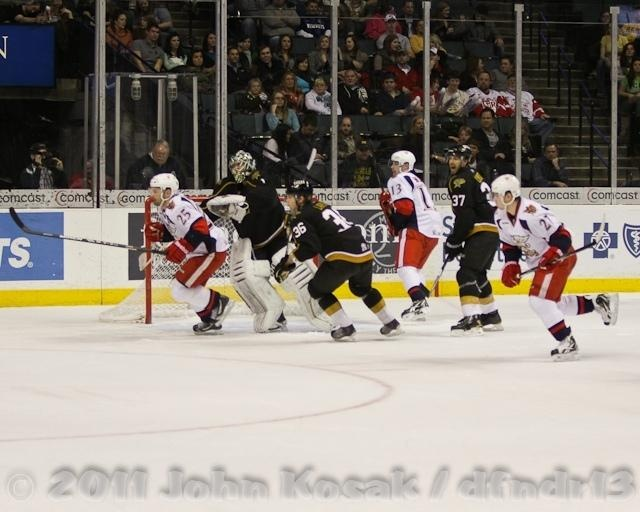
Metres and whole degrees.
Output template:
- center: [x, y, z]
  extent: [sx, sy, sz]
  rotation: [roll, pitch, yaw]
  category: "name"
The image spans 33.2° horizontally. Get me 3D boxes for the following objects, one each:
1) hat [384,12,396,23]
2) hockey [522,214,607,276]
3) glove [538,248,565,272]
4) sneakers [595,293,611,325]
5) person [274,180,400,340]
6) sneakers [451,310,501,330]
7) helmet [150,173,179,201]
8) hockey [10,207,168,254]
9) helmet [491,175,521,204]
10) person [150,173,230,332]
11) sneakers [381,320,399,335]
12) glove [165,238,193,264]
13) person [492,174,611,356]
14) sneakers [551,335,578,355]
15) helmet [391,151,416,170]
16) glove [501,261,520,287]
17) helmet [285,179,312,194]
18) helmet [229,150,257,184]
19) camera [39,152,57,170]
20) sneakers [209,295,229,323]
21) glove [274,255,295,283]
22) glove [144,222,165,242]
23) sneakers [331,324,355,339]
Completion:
- center: [0.753, -2.540, 11.398]
  extent: [0.104, 0.051, 0.122]
  rotation: [-21, 41, -21]
  category: "hat"
- center: [2.088, -0.092, 9.121]
  extent: [0.326, 0.081, 1.027]
  rotation: [2, -25, -27]
  category: "hockey"
- center: [1.658, 0.022, 7.684]
  extent: [0.077, 0.174, 0.125]
  rotation: [37, 10, -26]
  category: "glove"
- center: [2.083, 0.382, 7.835]
  extent: [0.121, 0.235, 0.082]
  rotation: [-12, 17, 7]
  category: "sneakers"
- center: [0.190, 0.127, 8.639]
  extent: [0.892, 1.123, 0.305]
  rotation: [1, 4, -26]
  category: "person"
- center: [1.354, 0.540, 9.027]
  extent: [0.534, 0.197, 0.168]
  rotation: [0, -7, -12]
  category: "sneakers"
- center: [-1.263, -0.576, 8.933]
  extent: [0.248, 0.199, 0.190]
  rotation: [6, 6, 1]
  category: "helmet"
- center: [-2.011, -0.215, 9.286]
  extent: [1.864, 0.407, 0.113]
  rotation: [13, 42, 30]
  category: "hockey"
- center: [1.357, -0.505, 7.790]
  extent: [0.213, 0.160, 0.160]
  rotation: [2, 5, 14]
  category: "helmet"
- center: [-1.091, -0.018, 9.034]
  extent: [0.702, 1.343, 0.639]
  rotation: [1, 4, -19]
  category: "person"
- center: [0.588, 0.585, 8.724]
  extent: [0.173, 0.146, 0.089]
  rotation: [-3, 7, 5]
  category: "sneakers"
- center: [-1.151, -0.042, 8.801]
  extent: [0.207, 0.198, 0.161]
  rotation: [1, 3, -12]
  category: "glove"
- center: [1.693, 0.072, 7.783]
  extent: [0.897, 1.291, 0.524]
  rotation: [3, 4, 20]
  category: "person"
- center: [1.758, 0.647, 7.603]
  extent: [0.211, 0.128, 0.099]
  rotation: [-21, -17, 10]
  category: "sneakers"
- center: [0.750, -0.852, 9.512]
  extent: [0.230, 0.165, 0.163]
  rotation: [2, 1, 12]
  category: "helmet"
- center: [1.435, 0.133, 7.995]
  extent: [0.154, 0.172, 0.074]
  rotation: [5, 3, -11]
  category: "glove"
- center: [-0.160, -0.557, 8.673]
  extent: [0.190, 0.113, 0.194]
  rotation: [1, 3, -10]
  category: "helmet"
- center: [-0.679, -0.792, 9.266]
  extent: [0.237, 0.254, 0.281]
  rotation: [10, 11, 4]
  category: "helmet"
- center: [-2.702, -0.956, 10.775]
  extent: [0.136, 0.158, 0.147]
  rotation: [-4, 39, -2]
  category: "camera"
- center: [-0.847, 0.440, 9.001]
  extent: [0.117, 0.180, 0.180]
  rotation: [19, -14, 11]
  category: "sneakers"
- center: [-0.271, 0.106, 8.683]
  extent: [0.168, 0.251, 0.418]
  rotation: [2, 3, -2]
  category: "glove"
- center: [-1.413, -0.204, 9.247]
  extent: [0.138, 0.160, 0.178]
  rotation: [2, -19, -12]
  category: "glove"
- center: [0.199, 0.623, 8.713]
  extent: [0.199, 0.112, 0.097]
  rotation: [-20, -7, 9]
  category: "sneakers"
